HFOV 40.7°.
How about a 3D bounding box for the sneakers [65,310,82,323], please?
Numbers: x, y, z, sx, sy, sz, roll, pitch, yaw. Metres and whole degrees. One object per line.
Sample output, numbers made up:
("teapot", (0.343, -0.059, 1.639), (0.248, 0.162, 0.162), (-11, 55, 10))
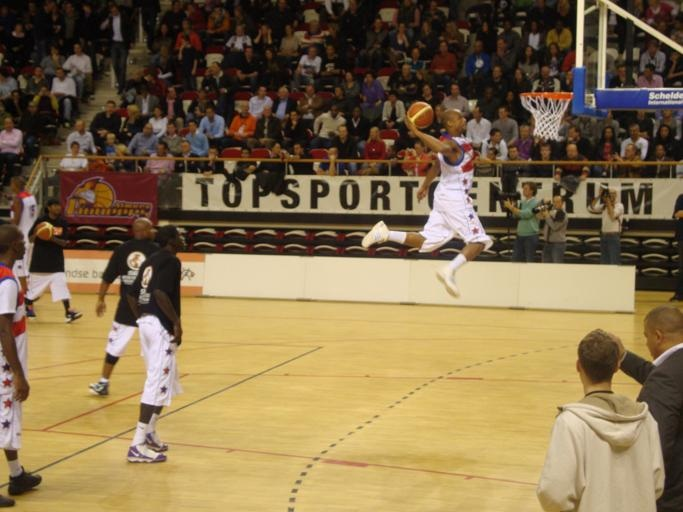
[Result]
("sneakers", (-4.849, 1.098, 16.612), (0.287, 0.263, 0.432), (-4, 12, -16))

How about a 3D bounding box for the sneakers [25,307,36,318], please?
("sneakers", (-5.679, 1.042, 16.803), (0.135, 0.214, 0.325), (-4, 12, -16))

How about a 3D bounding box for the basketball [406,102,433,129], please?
("basketball", (1.118, -1.938, 12.798), (0.356, 0.365, 0.330), (-6, 13, -25))

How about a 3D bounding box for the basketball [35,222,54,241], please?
("basketball", (-5.108, -0.414, 15.637), (0.291, 0.286, 0.290), (5, 7, 24))

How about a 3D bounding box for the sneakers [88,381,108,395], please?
("sneakers", (-3.175, 1.743, 12.097), (0.250, 0.167, 0.127), (22, 17, 2))

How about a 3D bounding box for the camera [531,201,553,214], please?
("camera", (4.029, -0.963, 18.435), (0.336, 0.152, 0.334), (1, 9, 19))
